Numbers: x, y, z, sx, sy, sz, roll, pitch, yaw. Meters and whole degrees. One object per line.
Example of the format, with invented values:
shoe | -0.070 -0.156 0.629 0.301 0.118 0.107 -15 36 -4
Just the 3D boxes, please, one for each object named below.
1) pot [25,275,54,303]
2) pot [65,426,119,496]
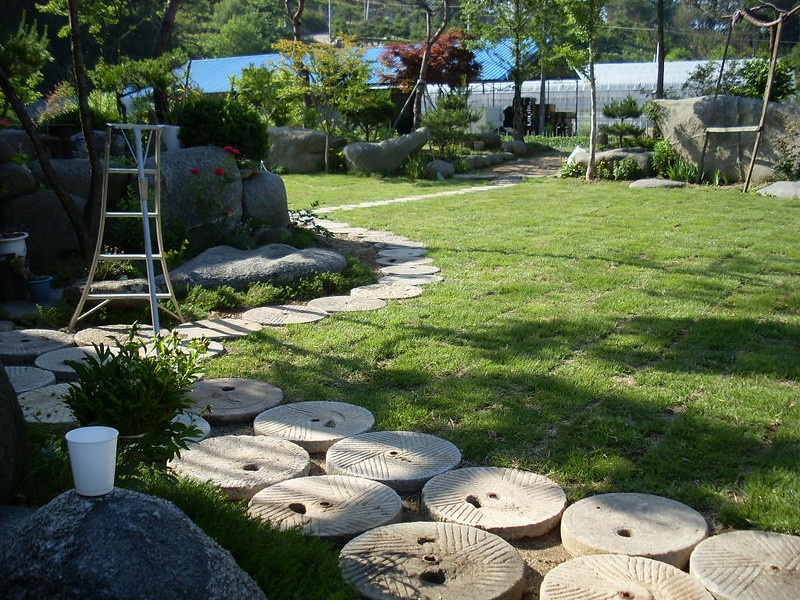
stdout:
pot | -3.471 -0.101 7.843 0.231 0.207 0.227 1 4 0
pot | -1.366 0.731 3.644 0.212 0.264 0.228 3 8 0
